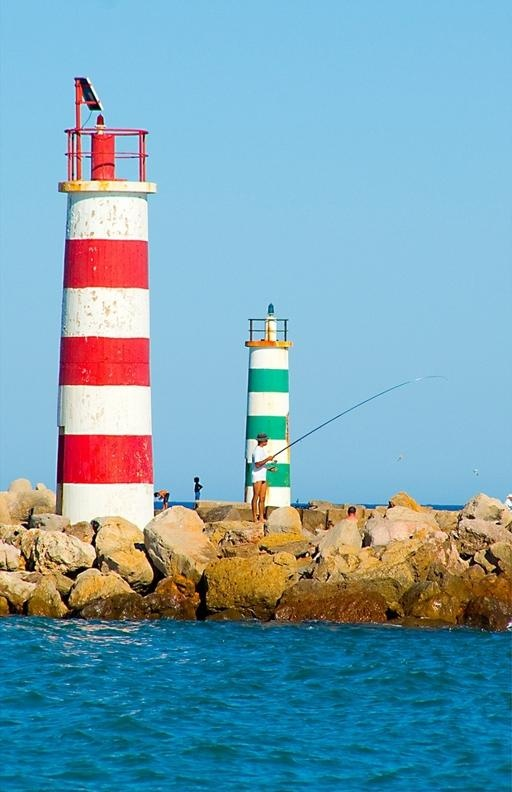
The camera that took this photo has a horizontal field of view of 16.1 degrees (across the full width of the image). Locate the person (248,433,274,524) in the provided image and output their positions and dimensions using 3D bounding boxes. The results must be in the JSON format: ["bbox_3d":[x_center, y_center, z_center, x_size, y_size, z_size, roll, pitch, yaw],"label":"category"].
[{"bbox_3d":[0.134,1.125,25.946,0.304,1.234,0.371,6,12,23],"label":"person"}]
